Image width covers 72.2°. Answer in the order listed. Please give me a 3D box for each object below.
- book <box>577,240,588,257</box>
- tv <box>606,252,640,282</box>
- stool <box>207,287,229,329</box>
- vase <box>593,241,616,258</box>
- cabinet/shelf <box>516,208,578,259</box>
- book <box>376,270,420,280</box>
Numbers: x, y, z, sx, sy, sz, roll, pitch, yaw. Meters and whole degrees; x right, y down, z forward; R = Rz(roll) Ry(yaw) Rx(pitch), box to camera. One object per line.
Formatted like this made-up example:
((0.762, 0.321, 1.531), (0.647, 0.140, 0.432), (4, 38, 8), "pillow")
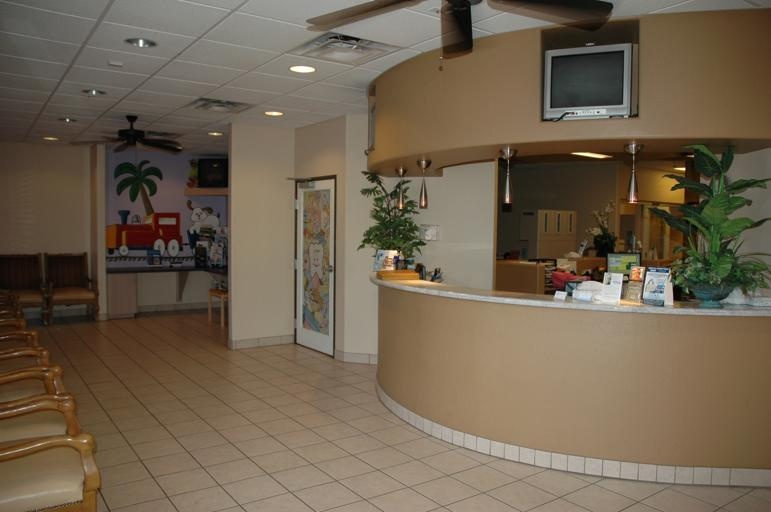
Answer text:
((4.510, -0.171, 12.074), (0.155, 0.397, 0.114), (35, -32, -12), "book")
((2.582, 0.116, 5.722), (0.321, 0.307, 0.105), (-1, -17, 33), "tv")
((-3.504, 1.091, 10.987), (0.452, 0.586, 0.888), (2, -2, -16), "stool")
((4.281, -0.138, 10.312), (0.303, 0.365, 0.338), (-1, 3, -32), "vase")
((3.761, -0.519, 12.155), (1.332, 1.070, 0.508), (-4, 8, -29), "cabinet/shelf")
((0.153, 0.235, 6.669), (0.532, 0.124, 0.238), (-1, 7, -6), "book")
